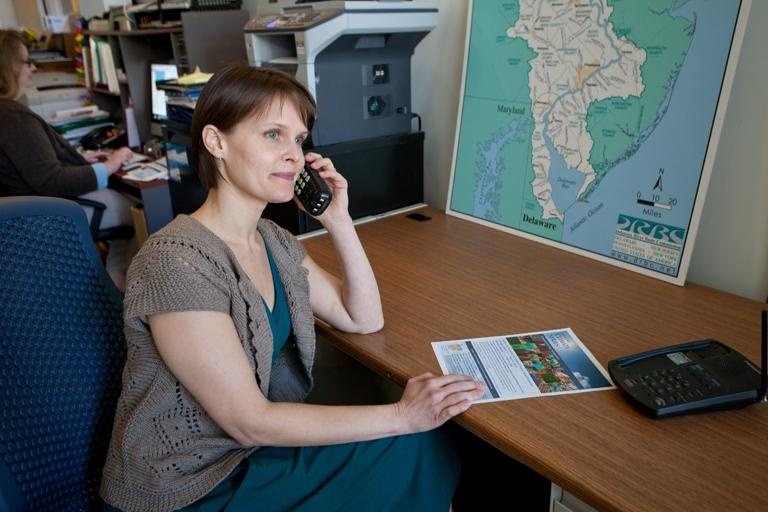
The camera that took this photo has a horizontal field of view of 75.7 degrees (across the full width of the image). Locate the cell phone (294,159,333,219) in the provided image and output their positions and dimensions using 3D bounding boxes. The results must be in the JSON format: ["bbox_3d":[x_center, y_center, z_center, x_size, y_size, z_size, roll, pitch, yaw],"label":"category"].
[{"bbox_3d":[-0.254,-0.222,1.660,0.054,0.095,0.209,17,31,-46],"label":"cell phone"}]

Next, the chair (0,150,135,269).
[{"bbox_3d":[-2.035,-0.396,3.303,0.624,0.586,0.613,-21,36,-36],"label":"chair"}]

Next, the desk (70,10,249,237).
[{"bbox_3d":[-1.268,-0.750,2.763,0.464,1.360,1.381,-12,34,-29],"label":"desk"}]

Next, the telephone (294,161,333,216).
[{"bbox_3d":[-0.289,-0.234,1.694,0.205,0.054,0.098,35,50,18],"label":"telephone"}]
